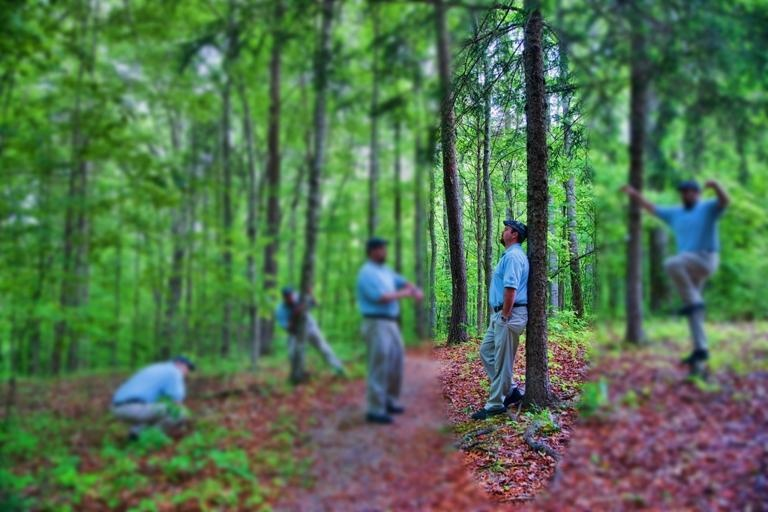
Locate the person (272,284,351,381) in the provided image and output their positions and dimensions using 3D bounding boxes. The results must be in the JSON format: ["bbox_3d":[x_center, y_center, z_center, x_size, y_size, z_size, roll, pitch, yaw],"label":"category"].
[{"bbox_3d":[-0.772,0.817,10.251,0.487,1.282,0.383,-16,-38,-15],"label":"person"}]

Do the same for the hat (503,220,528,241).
[{"bbox_3d":[1.487,-0.289,11.449,0.246,0.223,0.180,-3,-1,9],"label":"hat"}]

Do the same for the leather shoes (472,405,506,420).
[{"bbox_3d":[1.211,1.801,11.749,0.405,0.203,0.164,-2,-8,13],"label":"leather shoes"}]

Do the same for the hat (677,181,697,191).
[{"bbox_3d":[3.082,-0.717,10.336,0.116,0.077,0.127,0,-1,18],"label":"hat"}]

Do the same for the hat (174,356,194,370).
[{"bbox_3d":[-2.026,1.067,10.394,0.169,0.081,0.119,27,1,-27],"label":"hat"}]

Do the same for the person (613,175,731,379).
[{"bbox_3d":[3.145,0.191,10.295,0.733,1.881,0.177,-2,-1,-25],"label":"person"}]

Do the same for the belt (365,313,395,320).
[{"bbox_3d":[-0.025,0.590,9.943,0.319,0.052,0.075,-3,-1,-6],"label":"belt"}]

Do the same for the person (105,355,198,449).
[{"bbox_3d":[-2.423,1.477,10.640,0.672,1.097,0.737,19,-23,-14],"label":"person"}]

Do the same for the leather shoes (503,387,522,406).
[{"bbox_3d":[1.494,1.622,11.754,0.164,0.231,0.086,29,2,-36],"label":"leather shoes"}]

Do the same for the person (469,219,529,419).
[{"bbox_3d":[1.383,0.715,11.519,0.443,1.980,0.652,-2,-1,-21],"label":"person"}]
